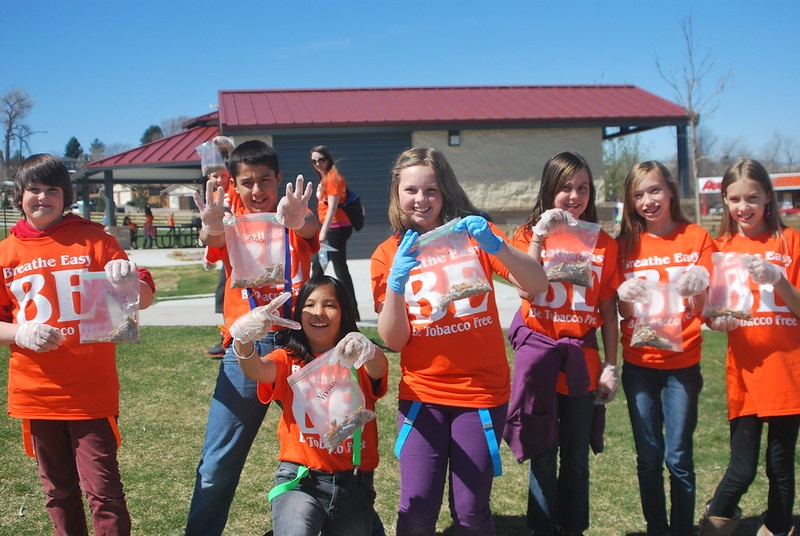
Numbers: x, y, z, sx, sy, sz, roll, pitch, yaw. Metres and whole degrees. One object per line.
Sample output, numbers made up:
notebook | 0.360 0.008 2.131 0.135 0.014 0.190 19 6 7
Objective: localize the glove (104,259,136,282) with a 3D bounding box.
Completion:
glove | -1.928 0.014 5.788 0.157 0.139 0.194 3 8 37

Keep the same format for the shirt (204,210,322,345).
shirt | -1.009 -0.071 6.133 0.728 0.795 0.416 -3 18 -19

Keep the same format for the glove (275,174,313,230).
glove | -0.753 -0.440 6.009 0.265 0.583 0.179 -11 -38 9

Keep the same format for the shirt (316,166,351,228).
shirt | -0.891 -0.914 10.571 0.382 0.762 0.717 -13 17 -11

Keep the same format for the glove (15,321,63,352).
glove | -2.445 0.453 5.674 0.236 0.198 0.115 18 13 -8

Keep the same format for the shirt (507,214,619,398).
shirt | 1.255 0.274 6.315 0.737 1.224 0.426 3 17 7

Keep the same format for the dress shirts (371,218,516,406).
dress shirts | 0.335 0.310 5.770 0.954 1.329 0.686 -10 13 -3

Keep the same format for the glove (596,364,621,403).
glove | 1.552 0.869 6.153 0.102 0.257 0.205 20 -25 -30

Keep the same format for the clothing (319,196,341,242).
clothing | -0.913 -0.616 10.313 0.200 0.724 0.179 -9 -21 -21

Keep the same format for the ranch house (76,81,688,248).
ranch house | 0.207 -1.925 14.343 6.369 2.171 3.963 -4 10 -14

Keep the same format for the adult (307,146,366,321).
adult | -0.916 -0.414 10.612 0.883 2.212 0.673 -2 1 15

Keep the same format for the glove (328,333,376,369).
glove | -0.322 0.559 5.591 0.301 0.265 0.206 -2 6 -4

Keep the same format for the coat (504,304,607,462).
coat | 1.183 0.874 6.280 0.726 1.141 0.625 0 4 -13
